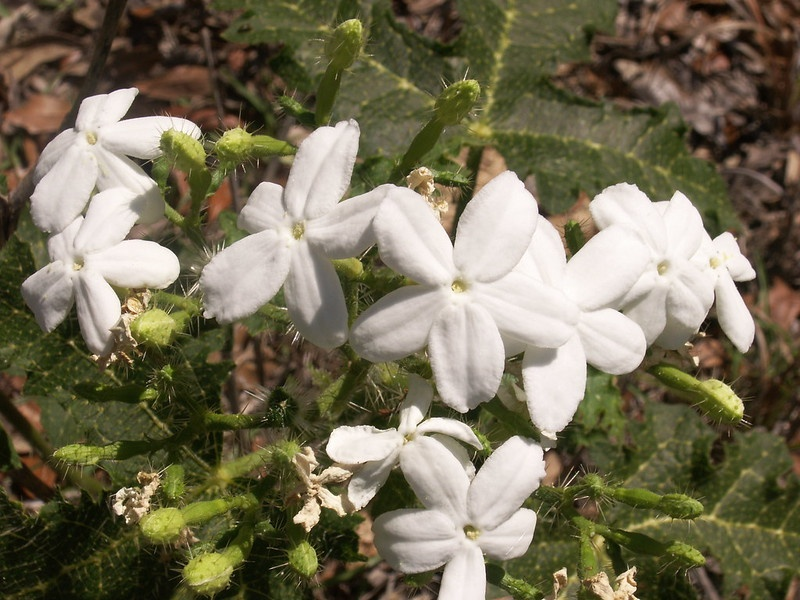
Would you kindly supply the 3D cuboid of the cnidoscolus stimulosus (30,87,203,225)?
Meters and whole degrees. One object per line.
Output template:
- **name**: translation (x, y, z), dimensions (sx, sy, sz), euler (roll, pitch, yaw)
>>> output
- **cnidoscolus stimulosus**: translation (-1.208, -0.555, 4.035), dimensions (0.543, 0.177, 0.604), euler (2, 80, 5)

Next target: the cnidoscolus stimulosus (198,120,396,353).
- **cnidoscolus stimulosus**: translation (-0.404, -0.234, 3.760), dimensions (0.747, 0.253, 0.879), euler (-3, 88, 19)
